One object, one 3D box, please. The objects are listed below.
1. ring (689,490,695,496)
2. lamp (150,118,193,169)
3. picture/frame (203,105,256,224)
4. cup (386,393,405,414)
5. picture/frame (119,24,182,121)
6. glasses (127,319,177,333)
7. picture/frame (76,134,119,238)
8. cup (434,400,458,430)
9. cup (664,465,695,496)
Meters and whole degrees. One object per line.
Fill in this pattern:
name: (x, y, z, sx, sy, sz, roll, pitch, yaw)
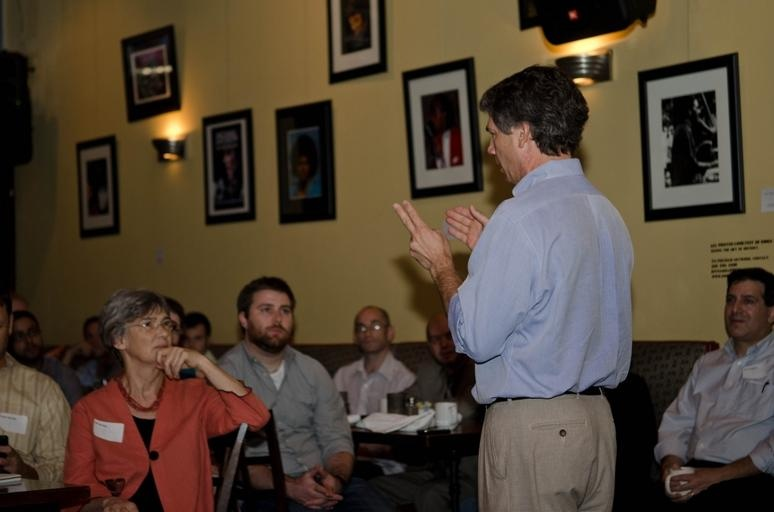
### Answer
ring: (1.812, 1.414, 3.948, 0.030, 0.035, 0.008, -2, 5, -2)
lamp: (-2.199, -1.174, 6.821, 0.400, 0.430, 0.215, -8, 6, -33)
picture/frame: (-1.543, -0.859, 6.509, 0.617, 1.065, 0.051, -4, -2, 28)
cup: (0.059, 0.952, 4.268, 0.106, 0.130, 0.114, -1, -8, 0)
picture/frame: (-2.464, -1.938, 7.017, 0.856, 1.142, 0.082, -8, -6, 28)
glasses: (-1.185, 0.358, 3.409, 0.221, 0.072, 0.080, -1, -3, -44)
picture/frame: (-3.216, -0.743, 7.397, 0.672, 1.062, 0.070, -4, -2, 30)
cup: (0.372, 0.991, 4.114, 0.094, 0.146, 0.157, 0, 0, -15)
cup: (1.771, 1.370, 4.020, 0.191, 0.142, 0.150, -3, -2, 2)
